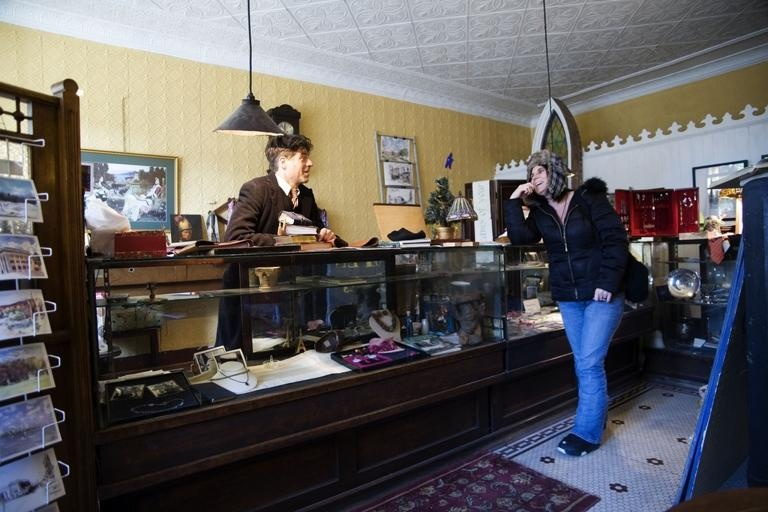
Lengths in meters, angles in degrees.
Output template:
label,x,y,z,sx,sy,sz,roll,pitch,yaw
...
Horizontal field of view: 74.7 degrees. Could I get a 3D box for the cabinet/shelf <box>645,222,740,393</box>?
label,x,y,z,sx,sy,sz,roll,pitch,yaw
cabinet/shelf,3.033,0.473,4.872,0.782,1.411,0.476,6,9,18

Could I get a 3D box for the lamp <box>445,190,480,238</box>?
label,x,y,z,sx,sy,sz,roll,pitch,yaw
lamp,0.614,-0.309,3.956,0.281,0.375,0.300,-3,-2,15

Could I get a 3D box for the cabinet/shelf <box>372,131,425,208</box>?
label,x,y,z,sx,sy,sz,roll,pitch,yaw
cabinet/shelf,0.237,-1.147,6.609,0.708,0.943,0.275,-8,14,-33

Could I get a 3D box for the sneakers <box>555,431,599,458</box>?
label,x,y,z,sx,sy,sz,roll,pitch,yaw
sneakers,1.336,1.326,3.476,0.311,0.128,0.111,8,-10,-22
